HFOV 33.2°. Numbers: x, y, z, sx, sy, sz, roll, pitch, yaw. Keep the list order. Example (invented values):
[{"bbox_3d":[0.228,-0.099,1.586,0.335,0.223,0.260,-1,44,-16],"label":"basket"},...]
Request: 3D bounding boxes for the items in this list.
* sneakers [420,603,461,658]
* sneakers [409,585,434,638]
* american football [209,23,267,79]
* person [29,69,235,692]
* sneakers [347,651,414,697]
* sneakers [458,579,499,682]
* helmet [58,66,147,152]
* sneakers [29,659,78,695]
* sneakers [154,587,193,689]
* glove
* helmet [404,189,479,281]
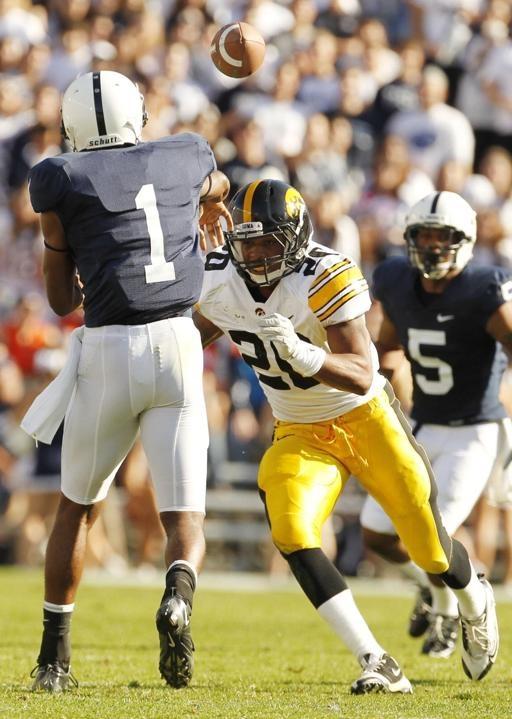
[{"bbox_3d":[0.708,1.041,3.310,0.086,0.092,0.229,5,32,19],"label":"sneakers"},{"bbox_3d":[0.681,1.050,3.533,0.080,0.217,0.098,9,6,25],"label":"sneakers"},{"bbox_3d":[-0.066,-1.108,3.086,0.208,0.171,0.239,-11,9,-32],"label":"american football"},{"bbox_3d":[-0.349,0.104,2.242,0.479,1.643,0.949,3,19,1],"label":"person"},{"bbox_3d":[0.302,0.758,2.059,0.069,0.075,0.184,-12,-20,28],"label":"sneakers"},{"bbox_3d":[0.649,0.810,2.575,0.109,0.279,0.123,-8,-19,28],"label":"sneakers"},{"bbox_3d":[-0.395,-0.666,2.340,0.266,0.216,0.294,-6,15,-3],"label":"helmet"},{"bbox_3d":[-0.506,0.784,2.112,0.072,0.043,0.120,2,-15,-2],"label":"sneakers"},{"bbox_3d":[-0.185,0.648,1.977,0.090,0.216,0.140,-6,3,1],"label":"sneakers"},{"bbox_3d":[0.078,-0.021,2.067,0.191,0.120,0.075,32,48,3],"label":"glove"},{"bbox_3d":[0.771,-0.508,3.466,0.301,0.311,0.357,4,14,30],"label":"helmet"}]
